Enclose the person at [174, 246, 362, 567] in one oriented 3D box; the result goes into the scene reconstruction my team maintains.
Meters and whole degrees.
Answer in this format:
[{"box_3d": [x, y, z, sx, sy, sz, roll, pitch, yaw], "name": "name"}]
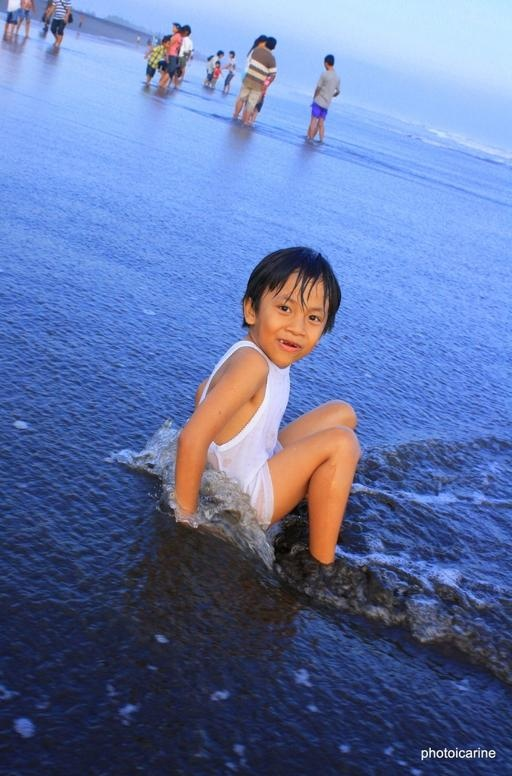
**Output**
[{"box_3d": [0.037, 0.055, 1.899, 0.580, 0.810, 0.536, -1, 20, -12], "name": "person"}]
